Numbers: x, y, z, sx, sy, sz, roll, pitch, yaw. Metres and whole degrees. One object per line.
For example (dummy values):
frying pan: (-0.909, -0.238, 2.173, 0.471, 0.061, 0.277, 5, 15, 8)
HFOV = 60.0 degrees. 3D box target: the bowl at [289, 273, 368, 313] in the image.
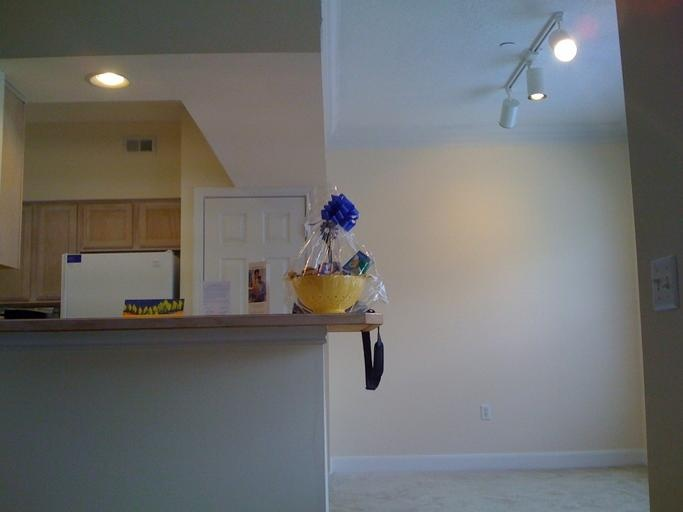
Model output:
bowl: (-0.064, 0.136, 2.089, 0.254, 0.144, 0.228, -4, -6, 30)

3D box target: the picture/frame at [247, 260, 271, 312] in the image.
picture/frame: (-0.315, 0.129, 2.240, 0.082, 0.210, 0.016, -1, 19, -9)
